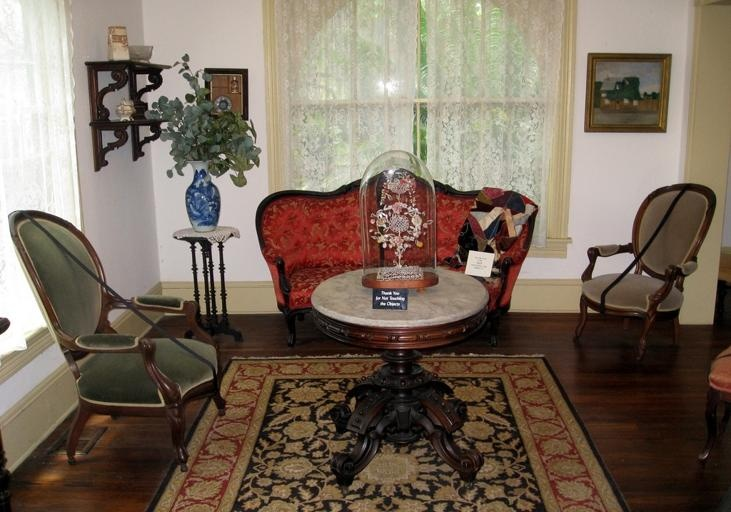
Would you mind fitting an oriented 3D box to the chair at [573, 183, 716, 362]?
[{"bbox_3d":[2.529,0.076,5.118,0.843,1.371,1.227,15,25,38],"label":"chair"}]

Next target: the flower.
[{"bbox_3d":[0.245,-0.241,3.881,0.383,0.657,0.470,11,23,30],"label":"flower"}]

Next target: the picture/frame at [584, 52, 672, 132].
[{"bbox_3d":[2.577,-1.644,5.474,0.768,0.748,0.060,1,13,4],"label":"picture/frame"}]

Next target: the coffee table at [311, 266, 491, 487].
[{"bbox_3d":[0.258,0.780,3.736,1.258,1.094,1.222,-7,10,-39],"label":"coffee table"}]

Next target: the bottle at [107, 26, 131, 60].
[{"bbox_3d":[-2.050,-1.771,4.645,0.173,0.272,0.271,-9,21,-21],"label":"bottle"}]

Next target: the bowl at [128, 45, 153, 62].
[{"bbox_3d":[-1.930,-1.747,4.881,0.240,0.168,0.186,-2,22,-5],"label":"bowl"}]

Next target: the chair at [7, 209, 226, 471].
[{"bbox_3d":[-1.556,0.499,3.554,1.141,1.583,0.678,2,20,9],"label":"chair"}]

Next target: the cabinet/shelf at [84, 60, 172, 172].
[{"bbox_3d":[-2.084,-1.252,4.875,0.394,0.934,1.082,1,17,2],"label":"cabinet/shelf"}]
